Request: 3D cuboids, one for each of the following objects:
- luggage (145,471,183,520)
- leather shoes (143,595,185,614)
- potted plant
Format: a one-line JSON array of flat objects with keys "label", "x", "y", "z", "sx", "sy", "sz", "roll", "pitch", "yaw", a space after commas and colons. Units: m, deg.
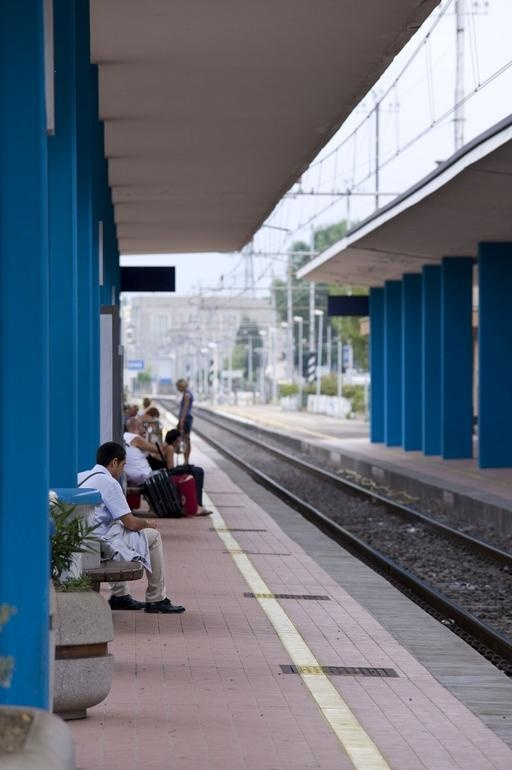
[{"label": "luggage", "x": -1.082, "y": 1.281, "z": 9.928, "sx": 0.316, "sy": 0.628, "sz": 0.391, "roll": -2, "pitch": 33, "yaw": 11}, {"label": "leather shoes", "x": -0.635, "y": 1.527, "z": 5.844, "sx": 0.285, "sy": 0.146, "sz": 0.109, "roll": 1, "pitch": -2, "yaw": -1}, {"label": "potted plant", "x": -0.860, "y": 0.995, "z": 3.780, "sx": 0.399, "sy": 0.921, "sz": 0.403, "roll": -10, "pitch": -16, "yaw": -4}]
